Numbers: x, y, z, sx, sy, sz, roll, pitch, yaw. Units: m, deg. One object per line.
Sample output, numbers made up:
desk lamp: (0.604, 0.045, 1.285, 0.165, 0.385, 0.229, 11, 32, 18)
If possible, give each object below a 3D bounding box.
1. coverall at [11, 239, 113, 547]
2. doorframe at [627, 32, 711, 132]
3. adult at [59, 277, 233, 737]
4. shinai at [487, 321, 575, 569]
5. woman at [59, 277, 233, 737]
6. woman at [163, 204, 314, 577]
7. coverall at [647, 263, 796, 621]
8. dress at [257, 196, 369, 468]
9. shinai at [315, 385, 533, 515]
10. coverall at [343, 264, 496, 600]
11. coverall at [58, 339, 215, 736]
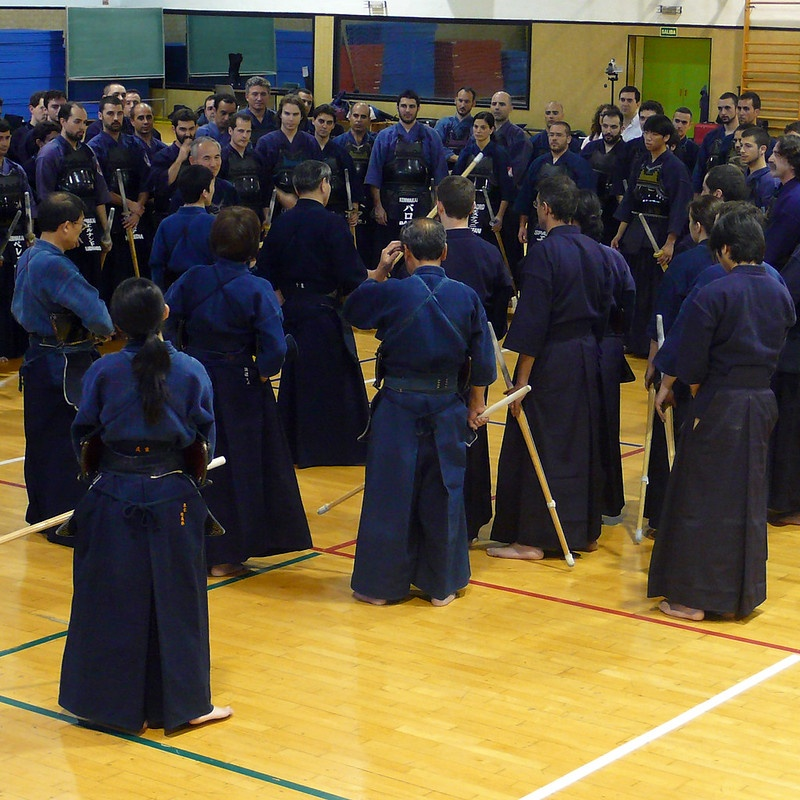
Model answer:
coverall: (-1.674, -0.062, 4.771, 0.468, 1.371, 0.632, 1, 8, -24)
doorframe: (4.287, -4.899, 14.726, 1.289, 1.581, 0.062, -3, -7, -14)
adult: (-0.786, 0.342, 2.873, 0.518, 1.401, 0.303, -1, 11, -10)
shinai: (0.628, 0.227, 4.521, 0.046, 1.268, 0.058, -21, 8, 3)
woman: (-0.786, 0.342, 2.873, 0.518, 1.401, 0.303, -1, 11, -10)
woman: (-0.718, -0.026, 4.344, 0.721, 1.537, 0.515, 4, 11, 3)
coverall: (1.280, 0.191, 3.852, 0.473, 1.460, 0.275, 4, 12, 14)
dress: (-0.513, -0.429, 5.998, 0.773, 1.541, 0.552, 5, 18, 19)
shinai: (0.093, 0.238, 4.481, 1.055, 0.149, 0.076, -38, 23, 3)
coverall: (0.042, 0.147, 4.088, 0.669, 1.317, 0.484, 1, 5, -10)
coverall: (-0.803, 0.414, 2.951, 0.498, 1.082, 0.374, 0, 4, -3)
